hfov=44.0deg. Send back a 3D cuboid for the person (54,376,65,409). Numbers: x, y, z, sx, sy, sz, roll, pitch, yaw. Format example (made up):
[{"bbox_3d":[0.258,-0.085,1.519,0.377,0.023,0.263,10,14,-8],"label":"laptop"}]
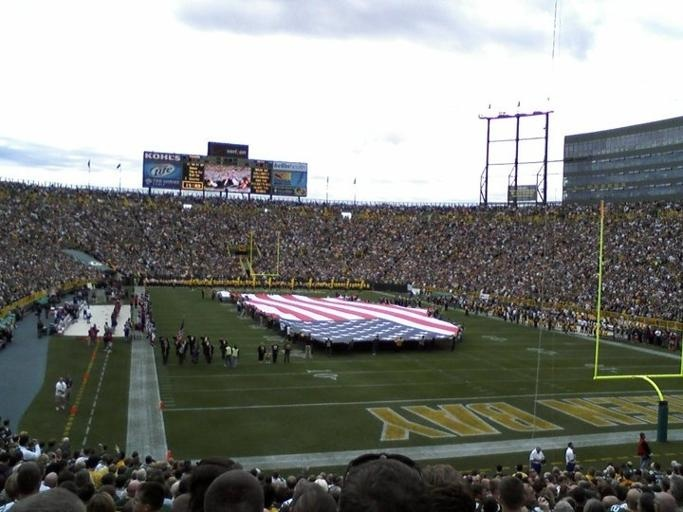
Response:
[{"bbox_3d":[-10.505,5.325,31.973,0.396,1.019,0.739,-1,7,-20],"label":"person"}]
